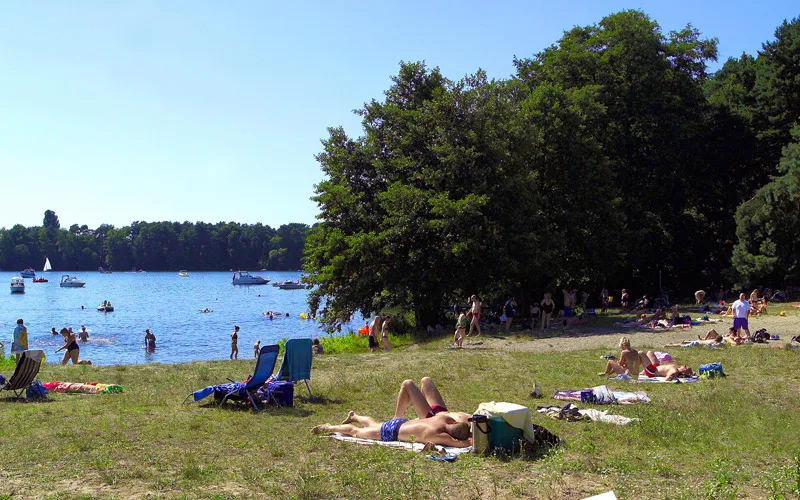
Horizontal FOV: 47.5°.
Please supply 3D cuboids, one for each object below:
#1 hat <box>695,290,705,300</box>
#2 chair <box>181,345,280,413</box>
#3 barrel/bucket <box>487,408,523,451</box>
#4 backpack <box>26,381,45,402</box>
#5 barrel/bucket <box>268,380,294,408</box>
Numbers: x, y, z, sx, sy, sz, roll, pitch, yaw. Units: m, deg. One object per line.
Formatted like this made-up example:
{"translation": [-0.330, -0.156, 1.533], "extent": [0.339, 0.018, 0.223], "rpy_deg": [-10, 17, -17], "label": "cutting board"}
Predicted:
{"translation": [20.905, 3.175, 63.336], "extent": [0.699, 0.655, 0.400], "rpy_deg": [2, -6, -41], "label": "hat"}
{"translation": [-6.730, 5.121, 36.003], "extent": [3.496, 2.324, 2.362], "rpy_deg": [-4, -3, 17], "label": "chair"}
{"translation": [3.734, 6.422, 32.534], "extent": [1.350, 1.397, 1.506], "rpy_deg": [-5, 1, -34], "label": "barrel/bucket"}
{"translation": [-14.418, 5.616, 35.891], "extent": [0.593, 0.795, 0.372], "rpy_deg": [9, -23, -35], "label": "backpack"}
{"translation": [-4.660, 5.661, 35.737], "extent": [1.224, 1.210, 0.770], "rpy_deg": [2, -11, -15], "label": "barrel/bucket"}
